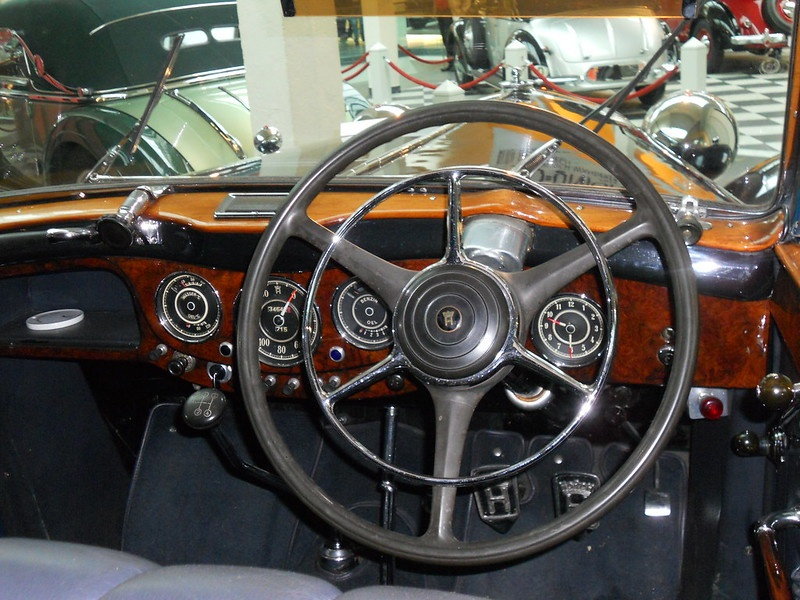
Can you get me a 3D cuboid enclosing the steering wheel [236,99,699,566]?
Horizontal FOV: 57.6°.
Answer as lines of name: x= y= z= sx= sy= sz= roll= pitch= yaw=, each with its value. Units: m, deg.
steering wheel: x=0.139 y=0.057 z=1.650 sx=0.932 sy=0.983 sz=0.638 roll=-8 pitch=16 yaw=-25
